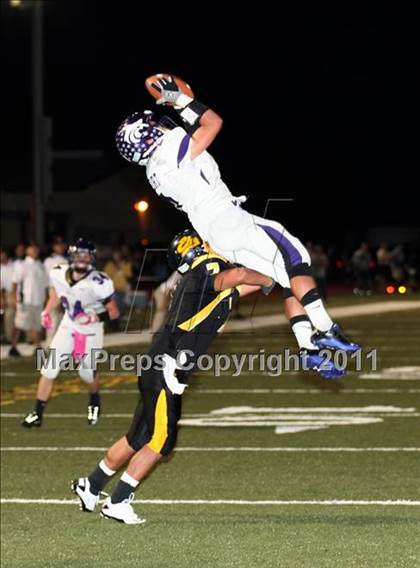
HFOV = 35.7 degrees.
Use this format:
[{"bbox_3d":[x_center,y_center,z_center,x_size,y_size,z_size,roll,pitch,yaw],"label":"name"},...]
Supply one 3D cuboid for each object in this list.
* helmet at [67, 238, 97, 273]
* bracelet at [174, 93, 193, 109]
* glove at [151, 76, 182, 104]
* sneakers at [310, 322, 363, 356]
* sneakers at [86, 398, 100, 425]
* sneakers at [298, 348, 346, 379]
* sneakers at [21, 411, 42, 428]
[{"bbox_3d":[-1.353,-0.295,6.886,0.319,0.325,0.358,0,4,-10],"label":"helmet"},{"bbox_3d":[-0.166,-1.110,3.984,0.111,0.084,0.050,-37,-8,12],"label":"bracelet"},{"bbox_3d":[-0.274,-1.210,4.009,0.211,0.174,0.055,2,6,22],"label":"glove"},{"bbox_3d":[0.629,0.287,3.340,0.318,0.139,0.115,12,24,3],"label":"sneakers"},{"bbox_3d":[-1.338,1.474,7.392,0.177,0.234,0.120,3,-8,-2],"label":"sneakers"},{"bbox_3d":[0.579,0.386,3.423,0.258,0.096,0.133,20,-25,32],"label":"sneakers"},{"bbox_3d":[-1.902,1.468,7.016,0.139,0.158,0.378,38,-5,-6],"label":"sneakers"}]
